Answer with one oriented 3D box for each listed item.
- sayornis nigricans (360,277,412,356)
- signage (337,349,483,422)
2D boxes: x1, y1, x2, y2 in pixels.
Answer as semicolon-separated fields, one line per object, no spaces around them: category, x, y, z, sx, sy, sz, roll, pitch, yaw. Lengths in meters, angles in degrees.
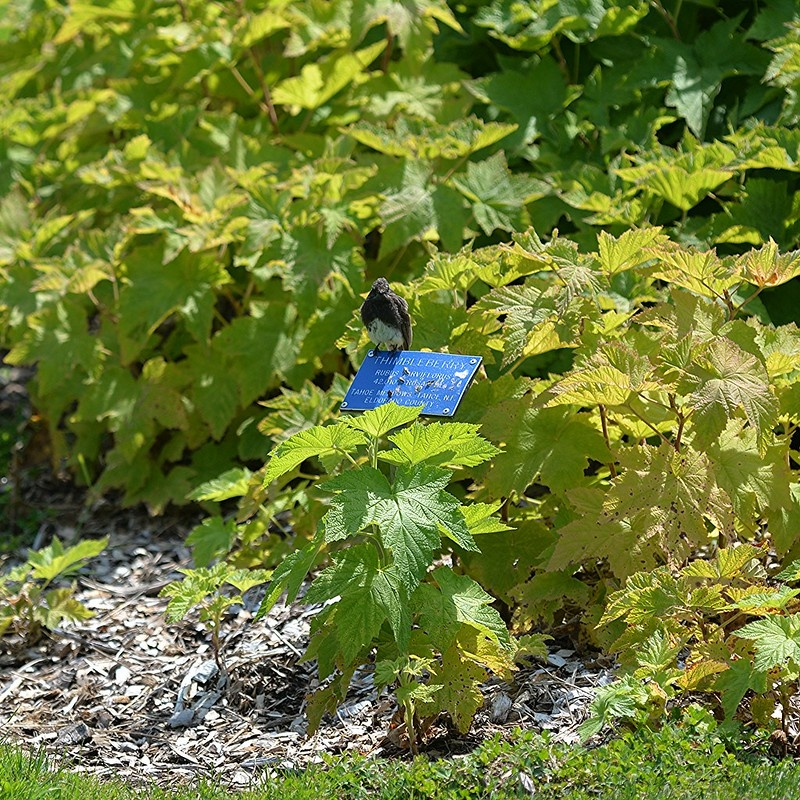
sayornis nigricans;-0.038;-0.253;2.746;0.136;0.212;0.196;-1;6;6
signage;0.024;-0.054;2.652;0.371;0.167;0.157;2;7;32
